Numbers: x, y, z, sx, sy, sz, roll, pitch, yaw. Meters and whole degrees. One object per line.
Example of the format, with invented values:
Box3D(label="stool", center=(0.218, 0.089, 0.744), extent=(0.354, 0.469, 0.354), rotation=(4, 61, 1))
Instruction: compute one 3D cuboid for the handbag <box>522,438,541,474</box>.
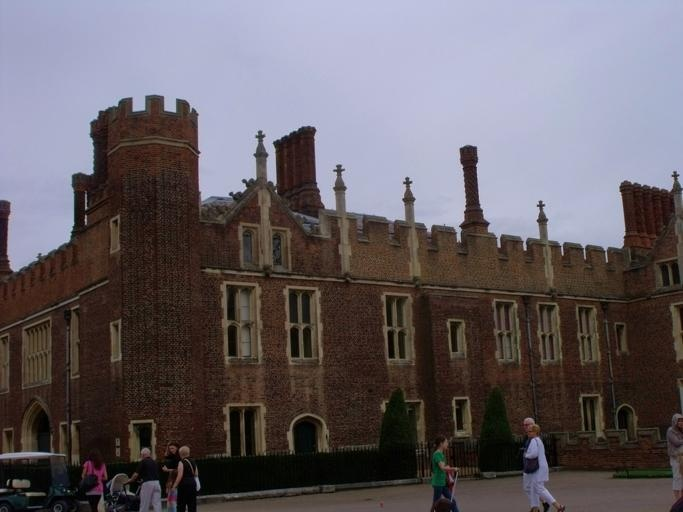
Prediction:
Box3D(label="handbag", center=(4.090, 4.360, 20.316), extent=(0.356, 0.738, 0.257), rotation=(-10, -14, 26))

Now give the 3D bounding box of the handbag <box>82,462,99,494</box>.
Box3D(label="handbag", center=(-6.065, 5.317, 22.449), extent=(0.372, 0.705, 0.231), rotation=(0, -13, -16))
